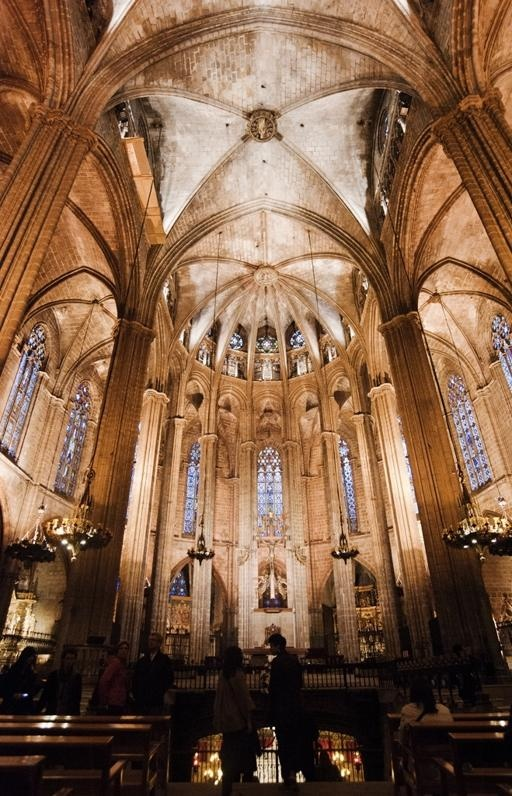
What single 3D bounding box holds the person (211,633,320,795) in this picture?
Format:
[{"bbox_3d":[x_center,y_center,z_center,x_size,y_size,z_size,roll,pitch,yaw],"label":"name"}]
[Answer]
[{"bbox_3d":[0.031,2.862,3.890,0.892,1.213,0.492,14,-31,-27],"label":"person"}]
